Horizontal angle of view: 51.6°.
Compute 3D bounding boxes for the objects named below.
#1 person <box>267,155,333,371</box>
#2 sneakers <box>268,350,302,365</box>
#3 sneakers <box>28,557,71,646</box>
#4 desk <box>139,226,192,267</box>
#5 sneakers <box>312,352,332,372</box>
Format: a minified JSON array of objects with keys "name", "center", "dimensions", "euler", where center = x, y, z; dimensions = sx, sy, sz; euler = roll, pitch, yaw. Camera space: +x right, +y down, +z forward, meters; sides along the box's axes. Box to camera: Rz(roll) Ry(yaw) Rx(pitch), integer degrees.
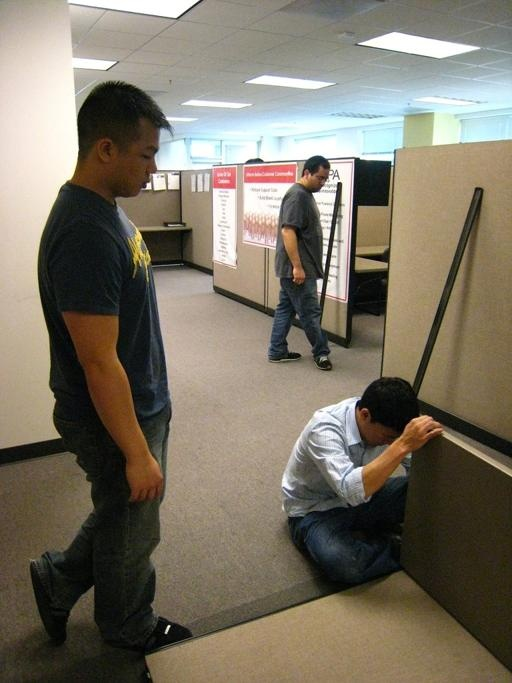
[{"name":"person","center":[0.295,-0.531,3.703],"dimensions":[0.472,1.423,0.374],"euler":[1,14,12]},{"name":"sneakers","center":[0.216,0.122,3.915],"dimensions":[0.249,0.096,0.082],"euler":[-8,17,-24]},{"name":"sneakers","center":[-0.536,0.677,1.404],"dimensions":[0.106,0.259,0.083],"euler":[-7,6,-36]},{"name":"desk","center":[-1.359,-1.406,7.959],"dimensions":[0.763,0.679,0.548],"euler":[-5,15,-24]},{"name":"sneakers","center":[0.467,0.151,3.685],"dimensions":[0.068,0.070,0.168],"euler":[-3,9,-11]}]
